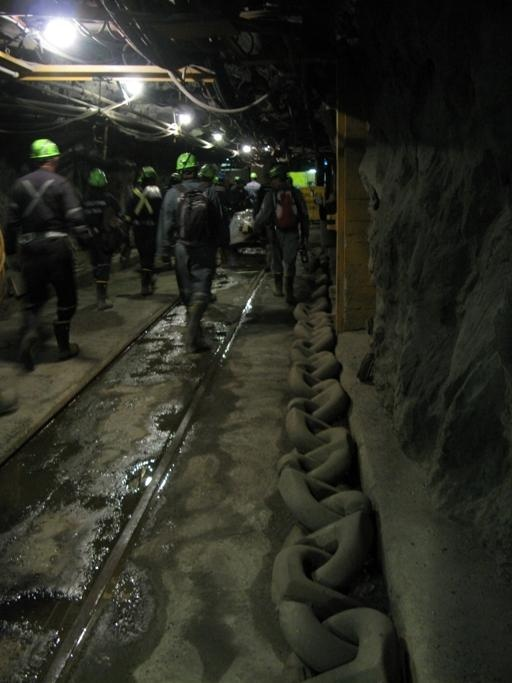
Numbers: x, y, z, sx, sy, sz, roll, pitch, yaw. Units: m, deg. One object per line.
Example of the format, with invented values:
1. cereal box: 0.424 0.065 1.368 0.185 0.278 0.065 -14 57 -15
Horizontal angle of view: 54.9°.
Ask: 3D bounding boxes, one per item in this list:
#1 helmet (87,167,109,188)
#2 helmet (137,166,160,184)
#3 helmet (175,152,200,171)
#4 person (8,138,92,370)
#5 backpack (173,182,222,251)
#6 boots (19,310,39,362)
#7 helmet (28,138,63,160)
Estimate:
1. helmet: -2.309 -2.339 7.205 0.253 0.353 0.351 2 35 -3
2. helmet: -1.879 -2.857 8.509 0.237 0.336 0.354 10 27 10
3. helmet: -0.789 -1.980 5.495 0.189 0.233 0.263 1 21 9
4. person: -2.082 -0.700 4.893 0.745 1.869 0.571 -8 15 -27
5. backpack: -0.618 -1.331 5.256 0.496 0.672 0.270 -2 13 -4
6. boots: -2.254 -0.030 4.820 0.125 0.199 0.652 9 42 -19
7. helmet: -2.114 -1.865 4.813 0.262 0.180 0.266 -21 38 -26
